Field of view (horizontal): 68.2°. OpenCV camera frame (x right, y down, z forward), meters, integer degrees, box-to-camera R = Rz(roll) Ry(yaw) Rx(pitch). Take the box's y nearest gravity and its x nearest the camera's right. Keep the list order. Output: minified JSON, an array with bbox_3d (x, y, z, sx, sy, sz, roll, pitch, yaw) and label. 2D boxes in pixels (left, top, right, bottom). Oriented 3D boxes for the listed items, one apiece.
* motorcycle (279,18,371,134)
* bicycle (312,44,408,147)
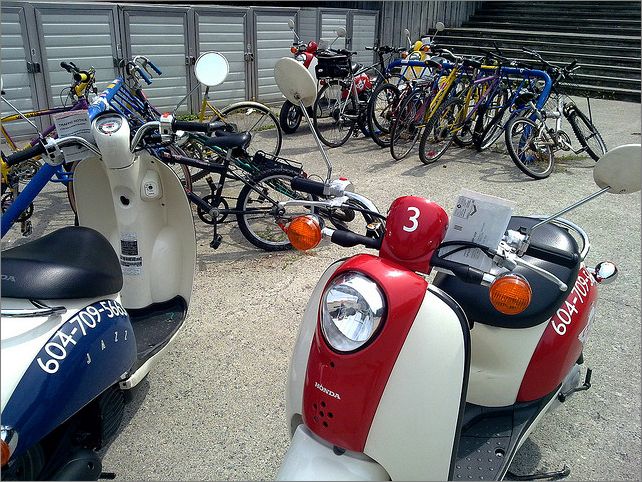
[{"bbox_3d":[-0.042,-3.107,8.459,1.180,1.697,2.338,21,39,24],"label":"motorcycle"},{"bbox_3d":[0.725,-2.471,7.949,2.297,1.552,0.898,-22,28,-40],"label":"bicycle"}]
